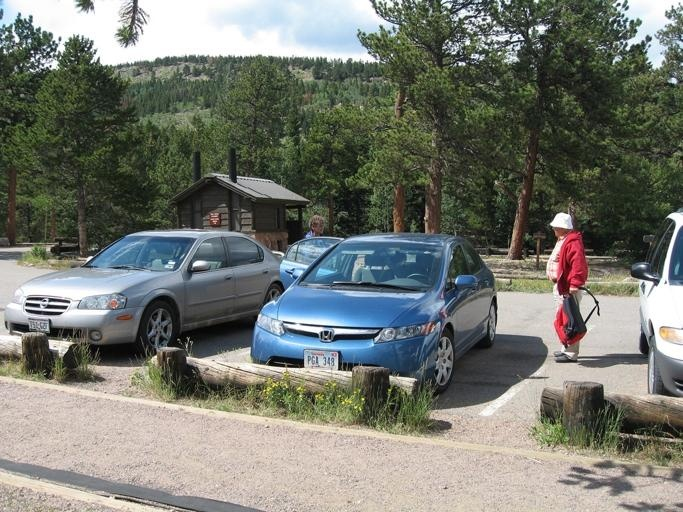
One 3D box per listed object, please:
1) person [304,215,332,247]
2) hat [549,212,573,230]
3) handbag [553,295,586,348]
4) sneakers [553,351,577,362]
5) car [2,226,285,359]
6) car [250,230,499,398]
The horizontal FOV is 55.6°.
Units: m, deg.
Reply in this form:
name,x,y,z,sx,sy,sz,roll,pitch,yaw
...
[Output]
name,x,y,z,sx,sy,sz,roll,pitch,yaw
person,-0.510,-0.516,13.610,0.423,0.867,0.471,5,30,3
hat,3.463,-0.510,10.069,0.285,0.221,0.367,4,0,30
handbag,3.437,1.003,9.770,0.267,0.797,0.533,-2,2,21
sneakers,3.428,1.573,9.893,0.275,0.126,0.164,4,3,-5
car,-3.055,0.526,10.789,2.092,1.794,4.245,4,5,37
car,0.679,0.726,8.889,2.119,1.969,3.704,4,6,42
